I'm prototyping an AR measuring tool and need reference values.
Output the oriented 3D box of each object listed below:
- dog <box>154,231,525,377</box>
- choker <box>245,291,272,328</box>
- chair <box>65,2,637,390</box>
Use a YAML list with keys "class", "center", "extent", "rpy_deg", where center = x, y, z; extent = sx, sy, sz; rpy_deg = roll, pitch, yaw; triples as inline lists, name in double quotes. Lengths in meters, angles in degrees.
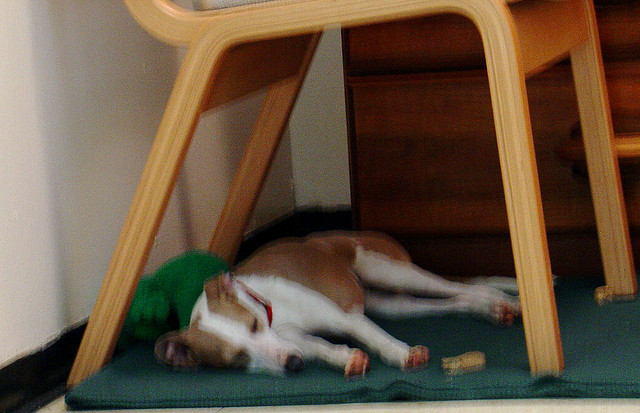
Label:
- class: "dog"
  center: [0.020, 0.136, 1.059]
  extent: [0.359, 0.180, 0.476]
  rpy_deg: [-7, 17, 40]
- class: "choker"
  center: [-0.112, 0.191, 0.997]
  extent: [0.050, 0.062, 0.012]
  rpy_deg: [0, -2, 18]
- class: "chair"
  center: [0.197, -0.066, 1.593]
  extent: [1.071, 1.435, 0.845]
  rpy_deg: [-2, 8, 16]
